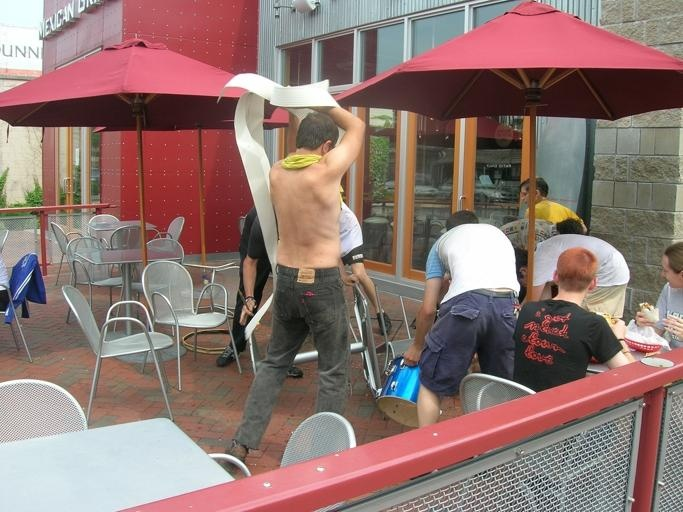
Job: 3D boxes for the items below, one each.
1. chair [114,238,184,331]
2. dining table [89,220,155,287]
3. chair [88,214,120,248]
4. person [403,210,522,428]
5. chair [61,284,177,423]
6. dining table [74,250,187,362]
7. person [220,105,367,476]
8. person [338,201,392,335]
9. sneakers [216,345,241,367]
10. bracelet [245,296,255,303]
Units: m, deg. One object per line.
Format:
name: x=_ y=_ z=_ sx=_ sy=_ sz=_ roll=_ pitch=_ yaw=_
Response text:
chair: x=-2.117 y=0.483 z=6.694 sx=0.533 sy=0.591 sz=0.670 roll=15 pitch=39 yaw=-23
dining table: x=-2.674 y=-0.020 z=7.247 sx=0.539 sy=0.572 sz=0.888 roll=-2 pitch=11 yaw=-8
chair: x=-3.619 y=-0.382 z=9.095 sx=0.472 sy=0.603 sz=0.472 roll=-6 pitch=12 yaw=-35
person: x=0.779 y=0.457 z=3.658 sx=0.680 sy=1.603 sz=0.697 roll=6 pitch=-14 yaw=-4
chair: x=-1.591 y=0.684 z=4.359 sx=0.697 sy=0.982 sz=0.586 roll=-5 pitch=6 yaw=-31
dining table: x=-2.210 y=0.539 z=6.484 sx=1.209 sy=1.268 sz=1.259 roll=-3 pitch=13 yaw=-17
person: x=-0.182 y=0.180 z=3.599 sx=0.673 sy=2.160 sz=0.814 roll=4 pitch=1 yaw=32
person: x=0.239 y=0.090 z=4.339 sx=0.237 sy=0.897 sz=0.485 roll=-12 pitch=-5 yaw=-23
sneakers: x=-1.029 y=0.905 z=5.509 sx=0.110 sy=0.151 sz=0.340 roll=14 pitch=6 yaw=7
bracelet: x=-0.612 y=0.288 z=3.981 sx=0.053 sy=0.058 sz=0.033 roll=0 pitch=0 yaw=37
